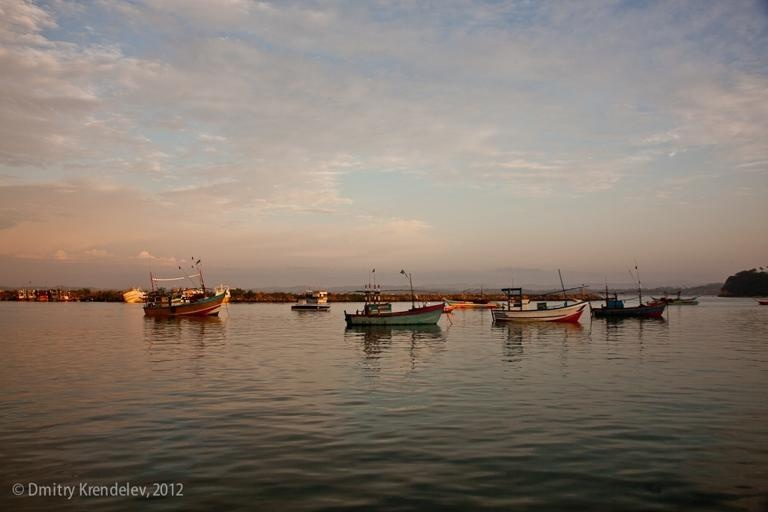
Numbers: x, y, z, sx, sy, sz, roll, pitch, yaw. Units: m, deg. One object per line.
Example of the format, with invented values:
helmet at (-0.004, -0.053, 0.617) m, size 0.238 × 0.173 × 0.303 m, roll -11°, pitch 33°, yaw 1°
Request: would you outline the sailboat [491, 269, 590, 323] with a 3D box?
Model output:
sailboat at (20.953, 6.863, 80.003) m, size 11.230 × 5.123 × 5.399 m, roll 0°, pitch -1°, yaw 23°
